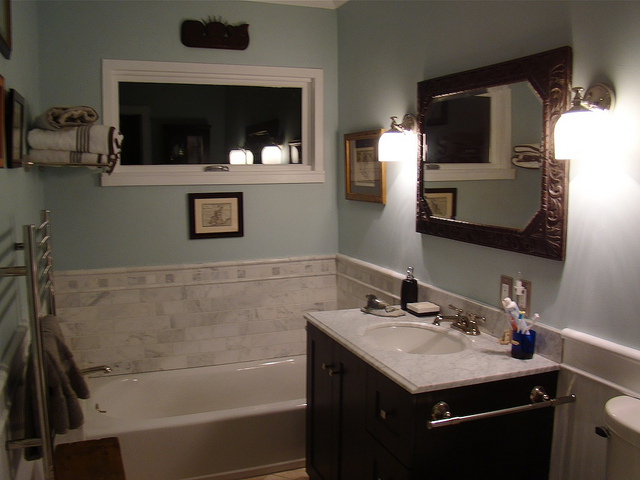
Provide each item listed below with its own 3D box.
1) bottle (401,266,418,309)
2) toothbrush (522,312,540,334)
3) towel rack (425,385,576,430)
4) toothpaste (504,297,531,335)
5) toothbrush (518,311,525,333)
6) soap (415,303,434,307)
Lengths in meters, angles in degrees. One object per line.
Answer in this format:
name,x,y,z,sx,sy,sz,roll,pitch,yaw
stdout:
bottle,0.535,0.288,2.837,0.093,0.240,0.092,-2,8,0
toothbrush,0.976,0.384,2.181,0.039,0.094,0.029,27,23,-8
towel rack,0.757,0.708,2.003,0.684,0.117,0.104,-4,8,-13
toothpaste,0.895,0.347,2.139,0.111,0.156,0.049,2,9,23
toothbrush,0.904,0.371,2.131,0.016,0.089,0.033,2,9,23
soap,0.610,0.378,2.755,0.038,0.009,0.037,-1,-2,-11
